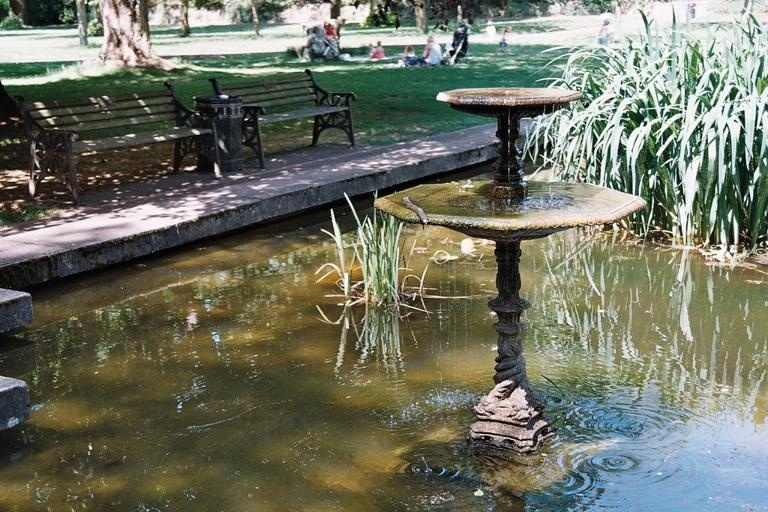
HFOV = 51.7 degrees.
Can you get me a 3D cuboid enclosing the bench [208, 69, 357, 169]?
[{"bbox_3d":[-1.338,-2.032,11.334,1.006,0.913,2.209,20,25,25],"label":"bench"}]
